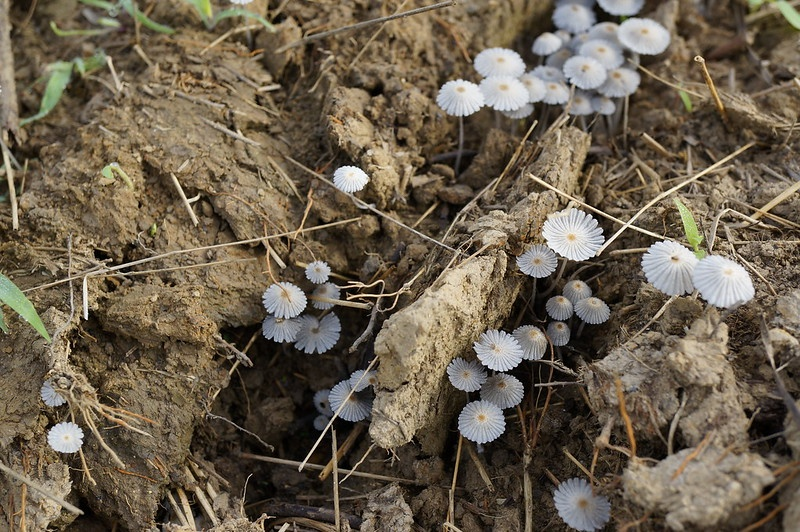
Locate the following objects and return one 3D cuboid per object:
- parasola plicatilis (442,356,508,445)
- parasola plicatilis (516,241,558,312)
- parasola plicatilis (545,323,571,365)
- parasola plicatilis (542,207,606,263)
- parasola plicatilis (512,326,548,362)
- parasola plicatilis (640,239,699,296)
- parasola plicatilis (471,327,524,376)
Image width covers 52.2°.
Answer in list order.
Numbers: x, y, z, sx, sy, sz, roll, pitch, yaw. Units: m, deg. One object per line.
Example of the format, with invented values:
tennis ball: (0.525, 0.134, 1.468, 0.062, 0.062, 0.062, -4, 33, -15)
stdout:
parasola plicatilis: (0.554, 1.055, 6.143, 0.339, 0.457, 0.608, -11, 55, -13)
parasola plicatilis: (1.035, -0.024, 6.174, 0.297, 0.141, 0.254, -32, 63, -25)
parasola plicatilis: (1.202, 0.587, 6.257, 0.211, 0.089, 0.273, 3, 79, 3)
parasola plicatilis: (1.305, -0.246, 6.145, 0.337, 0.175, 0.409, -16, 70, -7)
parasola plicatilis: (1.029, 0.606, 6.184, 0.255, 0.255, 0.099, 18, 67, -44)
parasola plicatilis: (1.943, 0.012, 5.870, 0.315, 0.161, 0.397, -9, 77, -2)
parasola plicatilis: (0.710, 0.661, 6.062, 0.378, 0.163, 0.425, 13, 31, 6)
